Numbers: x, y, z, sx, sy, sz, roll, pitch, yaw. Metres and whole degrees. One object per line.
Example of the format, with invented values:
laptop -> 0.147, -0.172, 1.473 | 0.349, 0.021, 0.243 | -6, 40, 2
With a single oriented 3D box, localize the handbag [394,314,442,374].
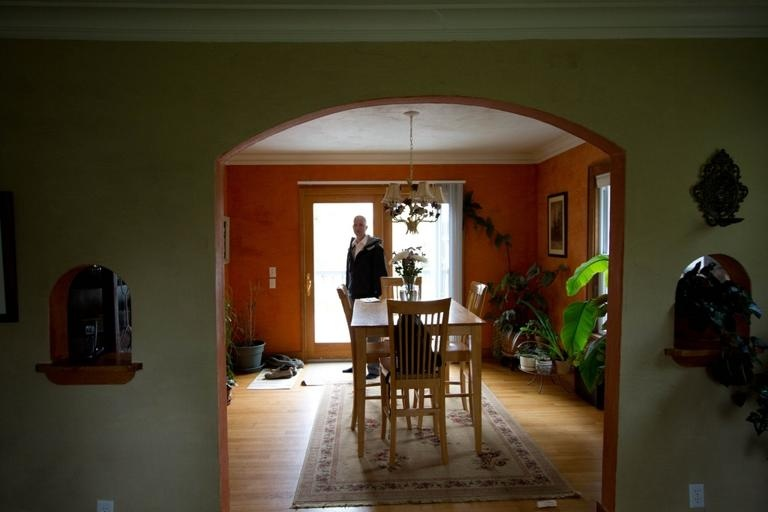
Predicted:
handbag -> 0.277, 0.691, 4.849 | 0.376, 0.498, 0.184 | -1, 12, 1

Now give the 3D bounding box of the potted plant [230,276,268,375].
potted plant -> -1.612, 0.831, 7.120 | 0.414, 0.942, 0.562 | -4, 13, -13

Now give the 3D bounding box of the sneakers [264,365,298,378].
sneakers -> -1.172, 1.323, 6.838 | 0.259, 0.113, 0.149 | 2, 2, -7

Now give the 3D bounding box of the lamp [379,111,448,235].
lamp -> 0.279, -0.841, 6.065 | 0.638, 1.215, 0.638 | 2, 3, 23
